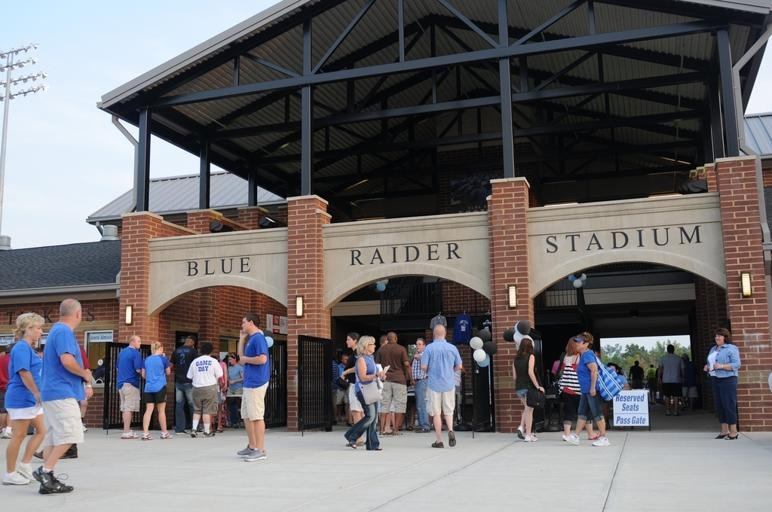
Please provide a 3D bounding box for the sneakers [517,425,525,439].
[{"bbox_3d":[3.346,4.294,23.904,0.121,0.298,0.107,-5,-12,-19],"label":"sneakers"}]

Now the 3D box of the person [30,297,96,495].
[{"bbox_3d":[-6.217,2.648,18.575,0.877,3.630,0.549,3,-13,-19],"label":"person"}]

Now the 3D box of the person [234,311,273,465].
[{"bbox_3d":[-2.900,2.795,21.093,0.619,3.157,0.909,1,-12,-11],"label":"person"}]

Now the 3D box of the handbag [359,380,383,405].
[{"bbox_3d":[-0.373,3.011,21.696,0.533,0.547,0.207,-8,-16,-1],"label":"handbag"}]

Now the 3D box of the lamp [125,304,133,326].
[{"bbox_3d":[-7.530,1.693,28.196,0.245,0.576,0.084,-5,-12,16],"label":"lamp"}]

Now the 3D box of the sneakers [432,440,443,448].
[{"bbox_3d":[1.172,4.283,22.312,0.132,0.093,0.237,3,-3,-34],"label":"sneakers"}]

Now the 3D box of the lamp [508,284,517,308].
[{"bbox_3d":[3.343,1.048,25.625,0.251,0.621,0.119,-1,-12,-2],"label":"lamp"}]

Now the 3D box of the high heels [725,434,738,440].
[{"bbox_3d":[8.171,4.219,22.874,0.290,0.076,0.112,3,-12,-6],"label":"high heels"}]

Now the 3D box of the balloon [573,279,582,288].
[{"bbox_3d":[6.135,0.871,30.851,0.287,0.260,0.281,2,11,-21],"label":"balloon"}]

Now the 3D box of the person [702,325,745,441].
[{"bbox_3d":[8.022,2.964,23.104,0.886,2.562,1.007,5,-12,-7],"label":"person"}]

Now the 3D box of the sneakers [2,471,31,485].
[{"bbox_3d":[-7.257,4.290,18.910,0.508,0.226,0.233,1,-3,-4],"label":"sneakers"}]

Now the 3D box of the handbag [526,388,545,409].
[{"bbox_3d":[3.603,3.385,23.439,0.519,0.515,0.234,4,-11,-29],"label":"handbag"}]

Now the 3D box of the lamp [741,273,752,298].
[{"bbox_3d":[9.108,0.708,24.432,0.283,0.649,0.154,-4,-12,13],"label":"lamp"}]

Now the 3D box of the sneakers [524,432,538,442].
[{"bbox_3d":[3.527,4.338,23.503,0.143,0.142,0.341,0,0,36],"label":"sneakers"}]

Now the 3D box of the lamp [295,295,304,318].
[{"bbox_3d":[-2.426,1.386,26.965,0.250,0.585,0.166,-2,-12,3],"label":"lamp"}]
